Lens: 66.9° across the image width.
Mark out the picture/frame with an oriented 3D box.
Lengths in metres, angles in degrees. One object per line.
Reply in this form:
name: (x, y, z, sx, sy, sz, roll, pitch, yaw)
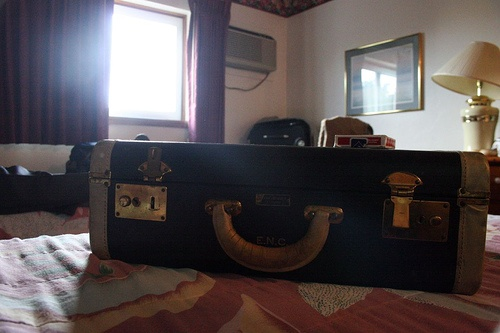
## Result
picture/frame: (1.224, -0.824, 3.385, 0.825, 0.786, 0.035, 2, 2, 44)
